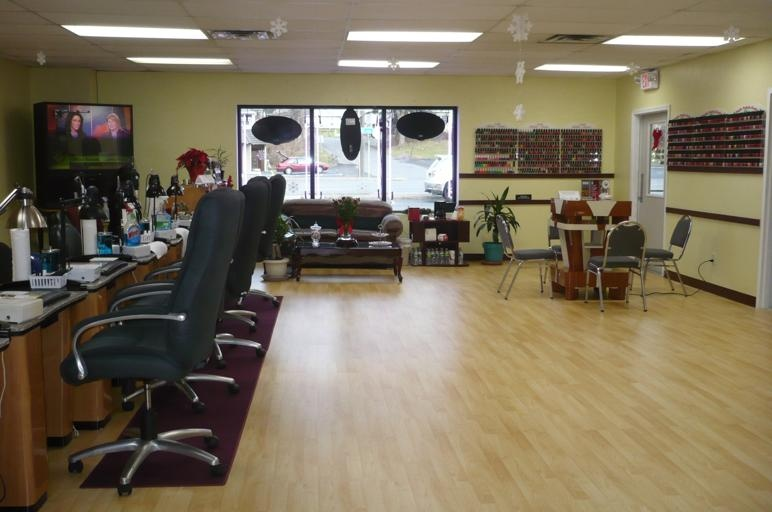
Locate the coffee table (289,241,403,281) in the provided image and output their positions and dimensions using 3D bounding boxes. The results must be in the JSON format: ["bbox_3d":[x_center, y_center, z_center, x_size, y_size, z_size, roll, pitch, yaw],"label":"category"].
[{"bbox_3d":[-0.661,0.028,9.210,1.768,0.603,1.226,0,10,-3],"label":"coffee table"}]

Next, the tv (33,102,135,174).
[{"bbox_3d":[-4.934,-1.944,9.017,1.421,1.105,0.380,-5,12,-29],"label":"tv"}]

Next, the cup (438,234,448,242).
[{"bbox_3d":[1.073,-0.344,10.151,0.133,0.140,0.284,10,13,40],"label":"cup"}]

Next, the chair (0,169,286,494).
[{"bbox_3d":[-1.921,0.390,4.804,1.834,2.932,1.710,3,3,-3],"label":"chair"}]

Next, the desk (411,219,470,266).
[{"bbox_3d":[1.121,-0.237,10.372,0.807,0.617,0.448,3,1,25],"label":"desk"}]

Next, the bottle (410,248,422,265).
[{"bbox_3d":[0.562,0.017,10.214,0.302,0.285,0.169,1,9,1],"label":"bottle"}]
